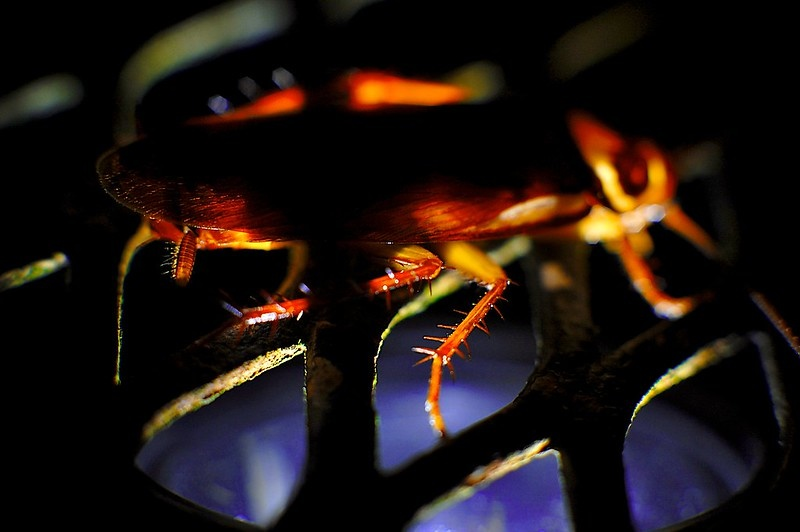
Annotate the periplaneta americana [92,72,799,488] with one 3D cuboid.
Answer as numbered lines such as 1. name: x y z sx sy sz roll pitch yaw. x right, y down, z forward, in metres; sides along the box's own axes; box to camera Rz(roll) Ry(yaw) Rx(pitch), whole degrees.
1. periplaneta americana: 0.091 -0.109 2.464 1.501 0.843 1.443 -1 11 -2
